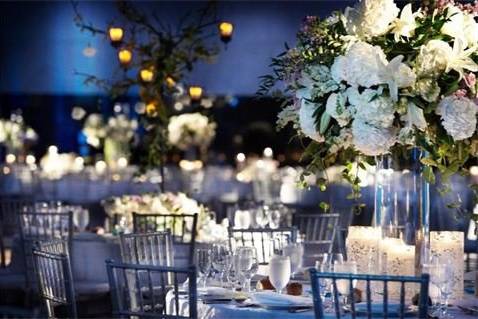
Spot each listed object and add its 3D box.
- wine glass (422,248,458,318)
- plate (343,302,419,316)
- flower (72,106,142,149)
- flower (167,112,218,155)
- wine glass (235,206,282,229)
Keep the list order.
[{"bbox_3d":[1.316,0.813,4.338,0.208,0.415,0.274,1,-9,12],"label":"wine glass"},{"bbox_3d":[0.899,0.941,4.217,0.465,0.090,0.326,1,-10,12],"label":"plate"},{"bbox_3d":[-2.568,-0.628,12.977,0.986,0.575,0.770,30,8,15],"label":"flower"},{"bbox_3d":[-0.807,-0.453,10.820,0.755,0.408,0.808,-14,38,-11],"label":"flower"},{"bbox_3d":[0.215,0.630,7.159,0.271,0.249,0.337,-1,5,4],"label":"wine glass"}]
